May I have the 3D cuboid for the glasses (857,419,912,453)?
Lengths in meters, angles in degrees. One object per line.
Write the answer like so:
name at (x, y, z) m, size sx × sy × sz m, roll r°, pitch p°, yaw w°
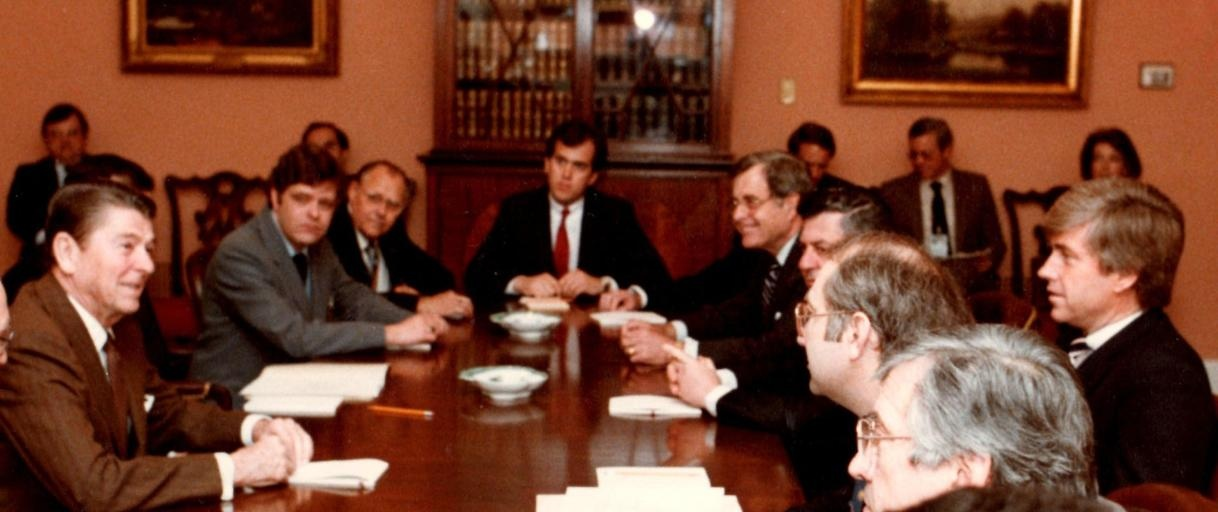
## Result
glasses at (1.395, 0.915, 4.711) m, size 0.223 × 0.071 × 0.192 m, roll 0°, pitch -5°, yaw -2°

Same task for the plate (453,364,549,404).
plate at (-0.658, 0.762, 5.664) m, size 0.341 × 0.076 × 0.309 m, roll 1°, pitch 5°, yaw 25°

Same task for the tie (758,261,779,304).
tie at (1.142, 0.199, 6.540) m, size 0.067 × 0.245 × 0.161 m, roll 22°, pitch 6°, yaw -14°
